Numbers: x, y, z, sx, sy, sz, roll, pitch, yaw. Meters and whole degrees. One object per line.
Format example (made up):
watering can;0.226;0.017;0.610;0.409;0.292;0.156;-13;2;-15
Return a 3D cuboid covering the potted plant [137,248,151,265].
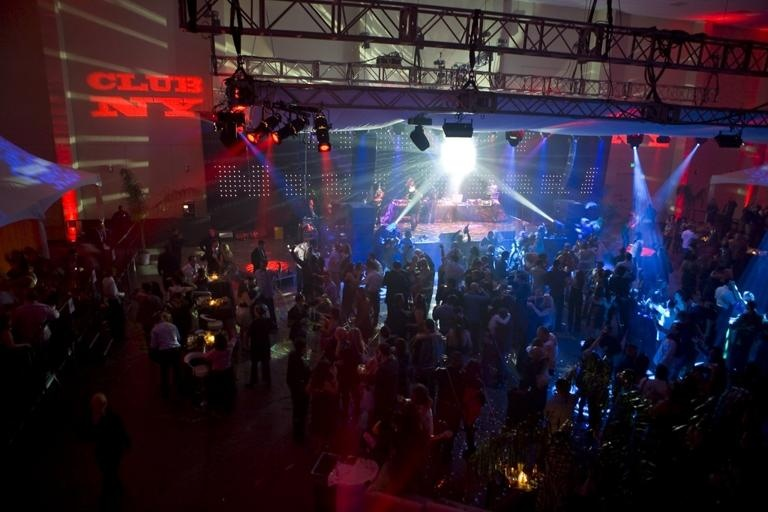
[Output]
potted plant;-6.813;0.019;14.497;0.390;0.436;0.401;6;8;7

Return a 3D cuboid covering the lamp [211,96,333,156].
lamp;-2.158;-2.809;11.246;1.000;1.281;2.868;-7;5;42

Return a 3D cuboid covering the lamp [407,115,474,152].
lamp;1.331;-2.866;12.048;1.381;0.826;0.561;0;1;6

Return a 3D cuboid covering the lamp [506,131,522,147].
lamp;4.488;-4.073;17.803;0.530;0.459;0.587;0;0;1
